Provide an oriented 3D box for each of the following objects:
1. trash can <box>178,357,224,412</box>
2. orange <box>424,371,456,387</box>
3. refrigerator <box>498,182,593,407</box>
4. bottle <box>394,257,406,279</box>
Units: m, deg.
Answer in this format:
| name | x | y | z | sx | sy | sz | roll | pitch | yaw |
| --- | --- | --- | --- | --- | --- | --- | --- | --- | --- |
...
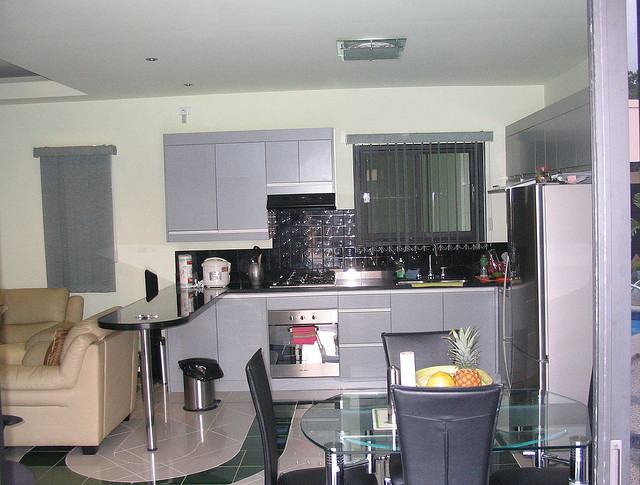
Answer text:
| name | x | y | z | sx | sy | sz | roll | pitch | yaw |
| --- | --- | --- | --- | --- | --- | --- | --- | --- | --- |
| trash can | -1.065 | 1.263 | 5.541 | 0.363 | 0.440 | 0.254 | -4 | 11 | -13 |
| orange | 0.652 | 0.732 | 3.297 | 0.117 | 0.079 | 0.133 | 0 | 2 | 7 |
| refrigerator | 1.813 | 0.396 | 4.916 | 0.556 | 1.758 | 0.725 | -1 | 11 | 5 |
| bottle | 0.824 | 0.262 | 6.240 | 0.101 | 0.170 | 0.243 | -1 | 10 | 4 |
